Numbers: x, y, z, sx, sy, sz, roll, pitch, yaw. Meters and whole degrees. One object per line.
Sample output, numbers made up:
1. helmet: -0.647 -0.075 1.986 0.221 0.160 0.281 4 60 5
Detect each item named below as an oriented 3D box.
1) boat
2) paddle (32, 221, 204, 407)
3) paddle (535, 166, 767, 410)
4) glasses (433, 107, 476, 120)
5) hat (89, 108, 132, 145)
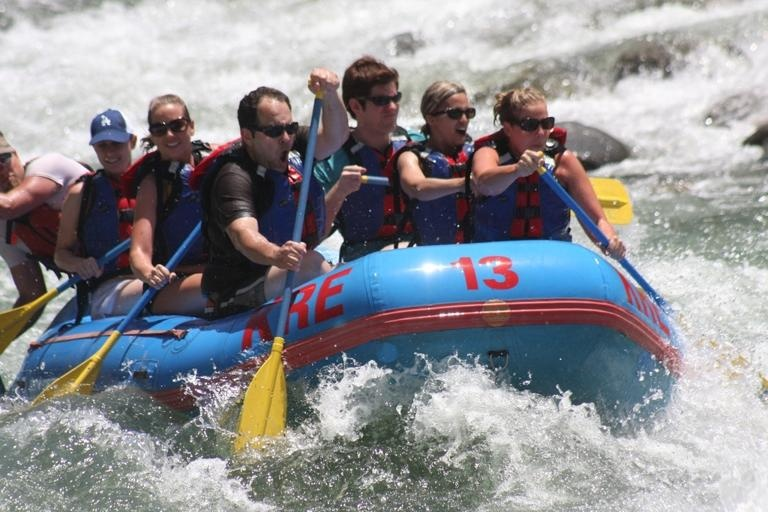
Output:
1. boat: 0.070 0.562 7.298 3.515 0.656 1.906 -6 6 -6
2. paddle: -2.200 0.509 7.963 1.140 0.199 1.139 -45 -1 -10
3. paddle: 2.396 0.337 8.274 0.592 3.000 0.233 -44 -5 -6
4. glasses: 0.629 -1.252 8.211 0.202 0.058 0.198 -5 0 -41
5. hat: -2.492 -1.172 8.519 0.264 0.211 0.377 -3 2 1
